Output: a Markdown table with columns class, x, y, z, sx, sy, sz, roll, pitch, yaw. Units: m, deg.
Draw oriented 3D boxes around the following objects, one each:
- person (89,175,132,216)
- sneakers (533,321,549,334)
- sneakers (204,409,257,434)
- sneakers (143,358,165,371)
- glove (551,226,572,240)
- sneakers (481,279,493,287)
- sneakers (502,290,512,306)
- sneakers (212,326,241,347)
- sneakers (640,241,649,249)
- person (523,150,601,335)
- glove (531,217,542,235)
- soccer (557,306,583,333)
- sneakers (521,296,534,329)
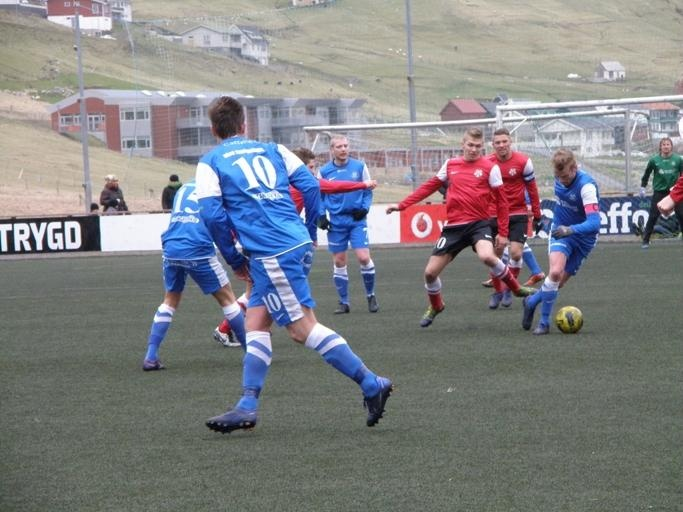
| class | x | y | z | sx | sy | sz | roll | pitch | yaw |
| --- | --- | --- | --- | --- | --- | --- | --- | --- | --- |
| person | -5.343 | -1.427 | 27.858 | 0.548 | 0.983 | 1.433 | -6 | 10 | -10 |
| sneakers | 2.486 | 0.903 | 14.824 | 0.091 | 0.111 | 0.266 | -2 | -8 | 26 |
| sneakers | -1.068 | 1.584 | 11.562 | 0.524 | 0.296 | 0.201 | -4 | -14 | -10 |
| sneakers | -2.119 | 1.229 | 13.569 | 0.094 | 0.120 | 0.258 | 19 | 12 | 30 |
| glove | 2.677 | -0.290 | 14.516 | 0.176 | 0.090 | 0.143 | -10 | 15 | 14 |
| sneakers | 2.293 | 0.422 | 18.475 | 0.224 | 0.101 | 0.082 | 2 | -4 | -27 |
| sneakers | 2.309 | 0.613 | 16.769 | 0.120 | 0.220 | 0.211 | 2 | -12 | 1 |
| sneakers | -1.384 | 0.974 | 14.482 | 0.307 | 0.159 | 0.113 | 31 | 19 | 1 |
| sneakers | 6.052 | -0.226 | 23.852 | 0.134 | 0.188 | 0.422 | -1 | -2 | 21 |
| person | 2.749 | -0.188 | 14.971 | 0.958 | 2.272 | 1.068 | -2 | 10 | 11 |
| glove | 2.743 | -0.414 | 16.859 | 0.135 | 0.200 | 0.203 | 0 | 33 | 15 |
| soccer | 2.831 | 0.787 | 14.840 | 0.322 | 0.288 | 0.341 | -3 | 10 | 9 |
| sneakers | 2.338 | 0.735 | 15.012 | 0.136 | 0.444 | 0.194 | 0 | 13 | 2 |
